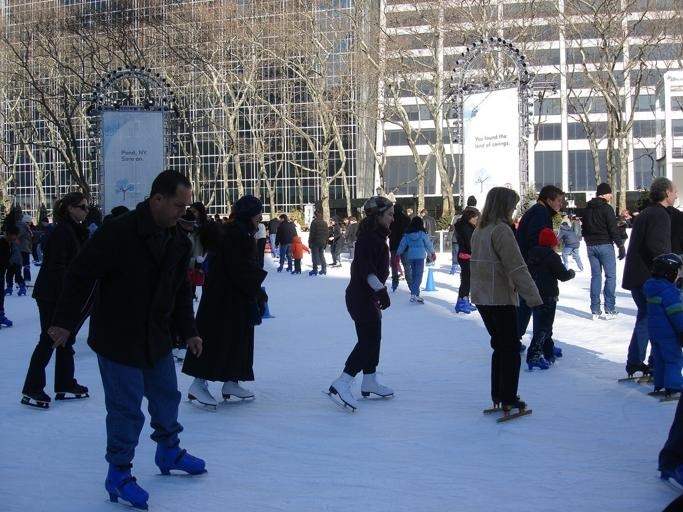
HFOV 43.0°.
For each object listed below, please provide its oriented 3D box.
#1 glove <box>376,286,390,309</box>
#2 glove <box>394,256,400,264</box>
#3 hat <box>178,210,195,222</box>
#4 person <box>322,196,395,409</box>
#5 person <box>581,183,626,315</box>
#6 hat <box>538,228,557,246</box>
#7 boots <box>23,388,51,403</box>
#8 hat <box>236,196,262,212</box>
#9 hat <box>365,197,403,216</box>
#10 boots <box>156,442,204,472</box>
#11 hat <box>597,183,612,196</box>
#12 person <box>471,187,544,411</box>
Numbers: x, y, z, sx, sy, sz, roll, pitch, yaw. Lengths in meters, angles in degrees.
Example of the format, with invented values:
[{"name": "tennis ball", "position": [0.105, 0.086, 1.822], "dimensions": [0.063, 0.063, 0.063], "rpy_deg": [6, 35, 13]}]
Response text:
[{"name": "glove", "position": [0.543, 0.547, 11.359], "dimensions": [0.185, 0.273, 0.156], "rpy_deg": [4, 3, 22]}, {"name": "glove", "position": [1.427, 0.102, 22.227], "dimensions": [0.122, 0.220, 0.204], "rpy_deg": [-1, 1, -2]}, {"name": "hat", "position": [-2.089, -0.527, 11.595], "dimensions": [0.269, 0.141, 0.326], "rpy_deg": [3, -3, -9]}, {"name": "person", "position": [0.332, 0.613, 11.420], "dimensions": [0.656, 2.751, 1.003], "rpy_deg": [5, 9, 42]}, {"name": "person", "position": [4.742, -0.131, 15.854], "dimensions": [0.552, 2.443, 0.741], "rpy_deg": [-1, 2, -42]}, {"name": "hat", "position": [2.927, -0.264, 12.362], "dimensions": [0.252, 0.248, 0.190], "rpy_deg": [2, 15, 44]}, {"name": "boots", "position": [-4.054, 1.841, 11.447], "dimensions": [0.285, 0.139, 0.169], "rpy_deg": [-2, 1, -9]}, {"name": "hat", "position": [-1.230, -0.692, 11.334], "dimensions": [0.232, 0.169, 0.249], "rpy_deg": [-2, 3, 15]}, {"name": "hat", "position": [0.488, -0.653, 11.501], "dimensions": [0.309, 0.191, 0.236], "rpy_deg": [-12, 22, -9]}, {"name": "boots", "position": [-1.792, 2.238, 9.493], "dimensions": [0.600, 0.414, 0.253], "rpy_deg": [-1, 2, -10]}, {"name": "hat", "position": [4.609, -1.170, 15.210], "dimensions": [0.221, 0.191, 0.220], "rpy_deg": [-17, 16, -33]}, {"name": "person", "position": [2.034, 0.584, 10.886], "dimensions": [0.896, 2.855, 0.448], "rpy_deg": [2, 7, 21]}]
